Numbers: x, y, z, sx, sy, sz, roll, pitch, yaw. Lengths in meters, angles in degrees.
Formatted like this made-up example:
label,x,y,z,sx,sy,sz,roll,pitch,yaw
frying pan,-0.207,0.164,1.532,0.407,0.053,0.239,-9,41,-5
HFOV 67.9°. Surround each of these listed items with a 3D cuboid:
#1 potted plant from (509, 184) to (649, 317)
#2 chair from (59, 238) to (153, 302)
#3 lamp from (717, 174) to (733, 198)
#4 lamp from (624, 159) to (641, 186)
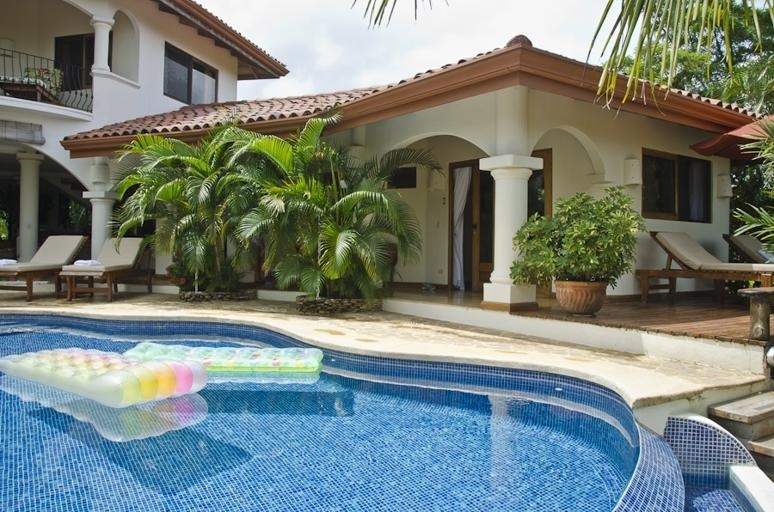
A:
label,x,y,z,sx,sy,sz,roll,pitch,yaw
potted plant,3.024,-0.085,9.076,2.144,2.078,1.898,-1,-1,27
chair,-6.056,0.302,12.916,1.331,1.550,2.609,-1,-2,16
lamp,7.171,-1.509,12.221,0.393,0.481,0.209,-6,13,-26
lamp,4.550,-1.577,10.611,0.363,0.500,0.277,0,11,3
